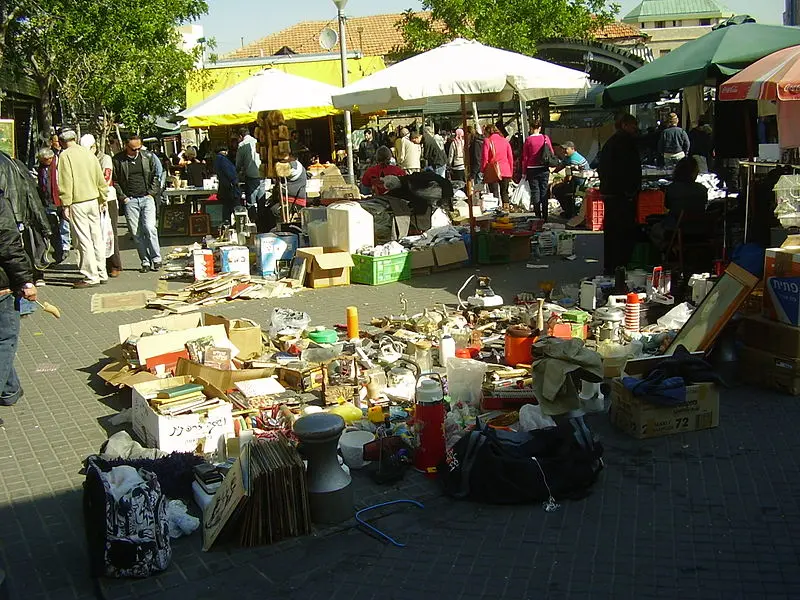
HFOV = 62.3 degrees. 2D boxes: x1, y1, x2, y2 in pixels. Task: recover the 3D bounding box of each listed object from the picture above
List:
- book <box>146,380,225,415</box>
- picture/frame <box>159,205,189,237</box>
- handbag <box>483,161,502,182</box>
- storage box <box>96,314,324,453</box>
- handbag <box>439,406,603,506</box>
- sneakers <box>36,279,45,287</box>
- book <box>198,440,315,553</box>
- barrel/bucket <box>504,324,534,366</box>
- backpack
[{"bbox_3d":[-1.794,0.824,5.544,0.565,0.127,0.533,-9,12,-20],"label":"book"},{"bbox_3d":[-5.438,-1.925,16.115,0.764,0.734,0.197,-3,2,2],"label":"picture/frame"},{"bbox_3d":[2.181,-3.076,15.762,0.424,0.422,0.189,-8,8,36],"label":"handbag"},{"bbox_3d":[-1.832,0.745,6.056,1.235,0.555,1.632,-9,17,-26],"label":"storage box"},{"bbox_3d":[0.867,1.165,4.793,0.885,0.403,0.652,-18,1,-2],"label":"handbag"},{"bbox_3d":[-5.906,-0.280,10.884,0.115,0.129,0.325,-3,-3,-23],"label":"sneakers"},{"bbox_3d":[-0.941,1.294,4.387,0.241,0.669,0.676,13,20,3],"label":"book"},{"bbox_3d":[1.200,0.481,6.818,0.347,0.390,0.348,0,3,0],"label":"barrel/bucket"},{"bbox_3d":[-1.715,1.366,4.145,0.461,0.675,0.302,-7,11,-13],"label":"backpack"}]
